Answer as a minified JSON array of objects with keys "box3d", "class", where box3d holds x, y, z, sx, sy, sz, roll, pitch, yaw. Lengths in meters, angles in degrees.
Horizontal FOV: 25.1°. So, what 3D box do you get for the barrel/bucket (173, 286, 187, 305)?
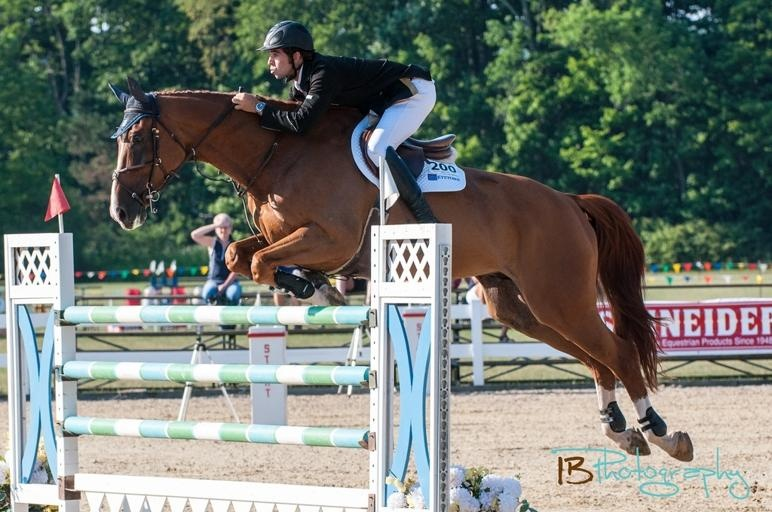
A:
[{"box3d":[-6.198,1.193,52.598,0.578,0.695,0.593,0,-4,0],"class":"barrel/bucket"}]
